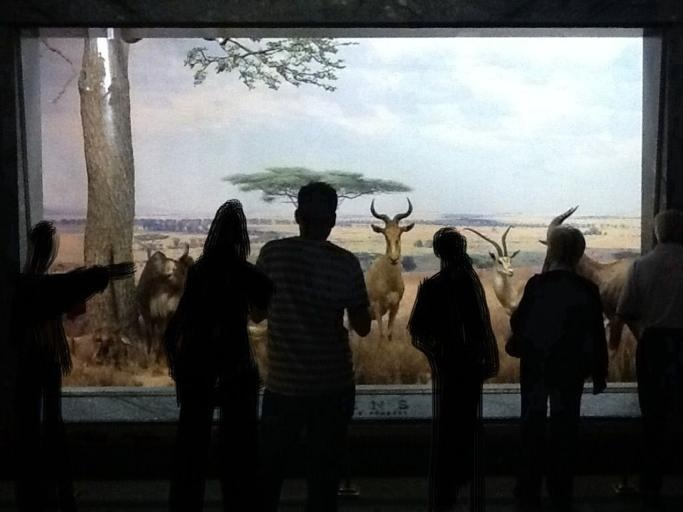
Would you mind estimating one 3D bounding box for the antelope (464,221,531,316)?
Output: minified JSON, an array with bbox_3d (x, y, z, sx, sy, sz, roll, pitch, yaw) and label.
[{"bbox_3d":[1.110,0.126,5.135,0.370,0.764,0.736,-5,-5,-2],"label":"antelope"}]
